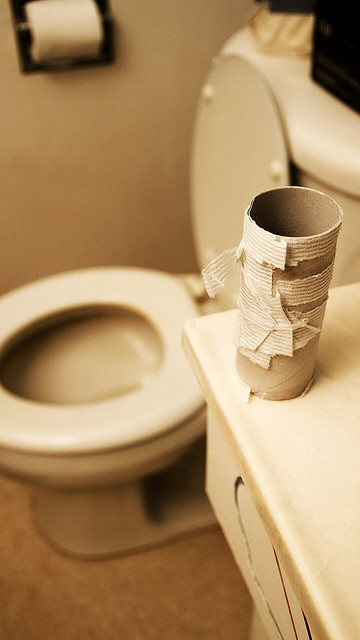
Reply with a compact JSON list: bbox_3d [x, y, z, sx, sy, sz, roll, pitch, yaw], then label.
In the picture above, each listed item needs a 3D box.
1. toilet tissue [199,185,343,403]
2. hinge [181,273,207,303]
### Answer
[{"bbox_3d":[0.062,-0.011,0.392,0.086,0.150,0.078,5,33,13],"label":"toilet tissue"},{"bbox_3d":[0.027,-0.055,0.903,0.046,0.012,0.044,-17,56,-11],"label":"hinge"}]
